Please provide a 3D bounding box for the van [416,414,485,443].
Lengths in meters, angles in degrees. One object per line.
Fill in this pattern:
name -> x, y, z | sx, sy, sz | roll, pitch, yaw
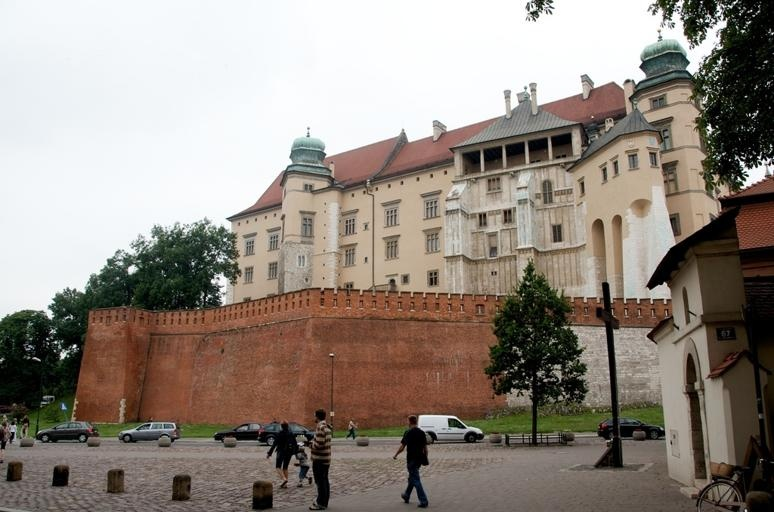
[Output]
van -> 3.428, 9.620, 37.434 | 3.934, 1.585, 2.263 | -1, -15, 2

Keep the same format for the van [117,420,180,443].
van -> -14.280, 10.339, 39.658 | 3.804, 1.117, 3.120 | 1, -15, -7

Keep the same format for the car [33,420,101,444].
car -> -19.286, 10.578, 40.684 | 4.054, 1.169, 1.369 | -9, -17, 29

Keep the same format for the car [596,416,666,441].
car -> 13.080, 9.213, 36.123 | 3.794, 1.095, 1.554 | 5, -16, -22

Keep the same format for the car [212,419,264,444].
car -> -8.682, 10.305, 39.611 | 3.004, 0.893, 1.316 | 2, -18, -2
